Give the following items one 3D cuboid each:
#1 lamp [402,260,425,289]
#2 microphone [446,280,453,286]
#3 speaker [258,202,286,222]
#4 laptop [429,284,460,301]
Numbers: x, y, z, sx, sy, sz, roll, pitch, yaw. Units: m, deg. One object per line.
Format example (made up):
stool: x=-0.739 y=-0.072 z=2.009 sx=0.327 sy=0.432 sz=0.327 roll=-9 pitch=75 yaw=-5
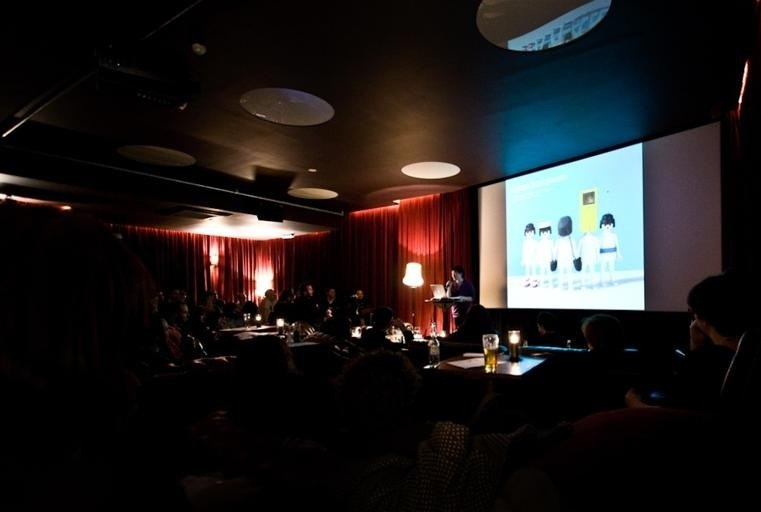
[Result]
lamp: x=0.620 y=0.341 z=9.175 sx=0.404 sy=0.398 sz=0.377 roll=1 pitch=2 yaw=21
microphone: x=1.067 y=0.417 z=8.237 sx=0.090 sy=0.046 sz=0.126 roll=2 pitch=-9 yaw=-7
speaker: x=-1.809 y=-0.719 z=8.794 sx=0.274 sy=0.340 sz=0.515 roll=3 pitch=1 yaw=40
laptop: x=0.836 y=0.524 z=7.663 sx=0.259 sy=0.178 sz=0.298 roll=-13 pitch=-15 yaw=35
